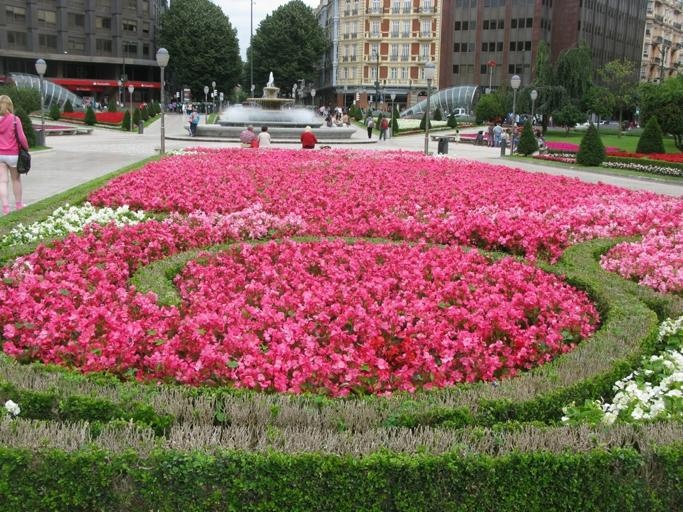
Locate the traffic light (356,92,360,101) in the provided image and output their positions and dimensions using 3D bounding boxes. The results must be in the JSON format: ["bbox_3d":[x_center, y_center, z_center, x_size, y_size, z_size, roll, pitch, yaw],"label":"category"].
[{"bbox_3d":[1.849,-18.653,81.415,0.616,0.994,0.106,16,19,42],"label":"traffic light"}]

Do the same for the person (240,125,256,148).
[{"bbox_3d":[-3.201,-4.242,24.510,0.551,0.808,1.627,0,17,-8],"label":"person"}]

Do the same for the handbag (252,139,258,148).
[{"bbox_3d":[-2.973,-3.927,24.256,0.197,0.328,0.296,-5,-4,-1],"label":"handbag"}]
